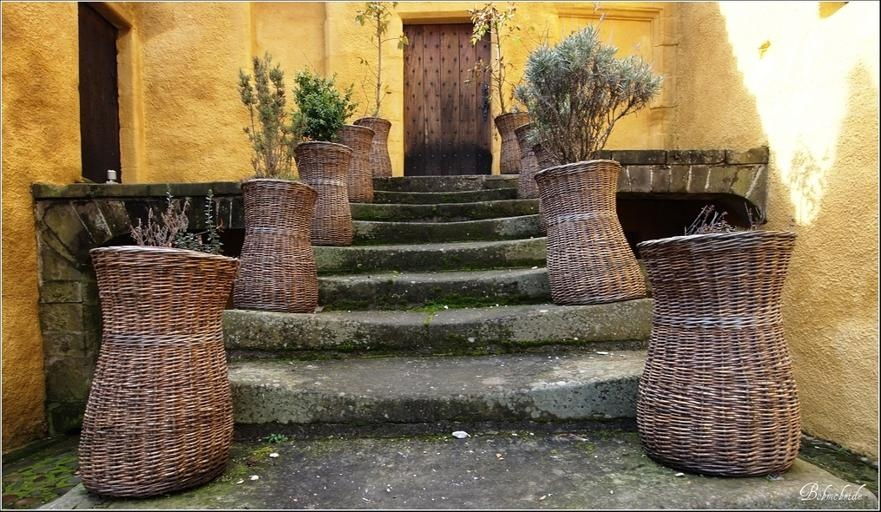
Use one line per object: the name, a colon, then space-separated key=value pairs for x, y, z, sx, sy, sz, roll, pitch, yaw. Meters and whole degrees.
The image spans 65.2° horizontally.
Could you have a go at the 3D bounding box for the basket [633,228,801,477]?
basket: x=2.012 y=0.701 z=4.973 sx=1.079 sy=1.752 sz=0.302 roll=0 pitch=7 yaw=12

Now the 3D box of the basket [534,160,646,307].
basket: x=1.320 y=-0.210 z=6.059 sx=0.934 sy=1.278 sz=0.429 roll=-1 pitch=7 yaw=5

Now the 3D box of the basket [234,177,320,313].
basket: x=-1.475 y=-0.088 z=6.165 sx=0.754 sy=1.200 sz=0.432 roll=-2 pitch=7 yaw=-9
